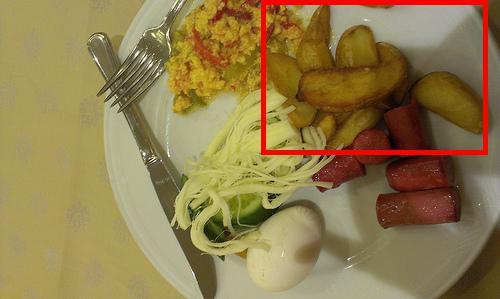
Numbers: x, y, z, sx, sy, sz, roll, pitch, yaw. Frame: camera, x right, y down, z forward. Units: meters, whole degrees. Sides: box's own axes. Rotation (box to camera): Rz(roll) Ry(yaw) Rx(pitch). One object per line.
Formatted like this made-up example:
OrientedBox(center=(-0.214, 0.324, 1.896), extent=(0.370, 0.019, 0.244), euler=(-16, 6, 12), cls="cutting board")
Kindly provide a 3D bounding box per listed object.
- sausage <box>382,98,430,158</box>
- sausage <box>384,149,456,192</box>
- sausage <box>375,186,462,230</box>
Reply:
OrientedBox(center=(0.615, -0.078, 1.960), extent=(0.106, 0.196, 0.180), euler=(-25, 45, -35), cls="sausage")
OrientedBox(center=(0.712, 0.096, 2.015), extent=(0.206, 0.161, 0.166), euler=(-13, 52, 42), cls="sausage")
OrientedBox(center=(0.691, 0.227, 2.022), extent=(0.318, 0.152, 0.185), euler=(-11, 30, 34), cls="sausage")
